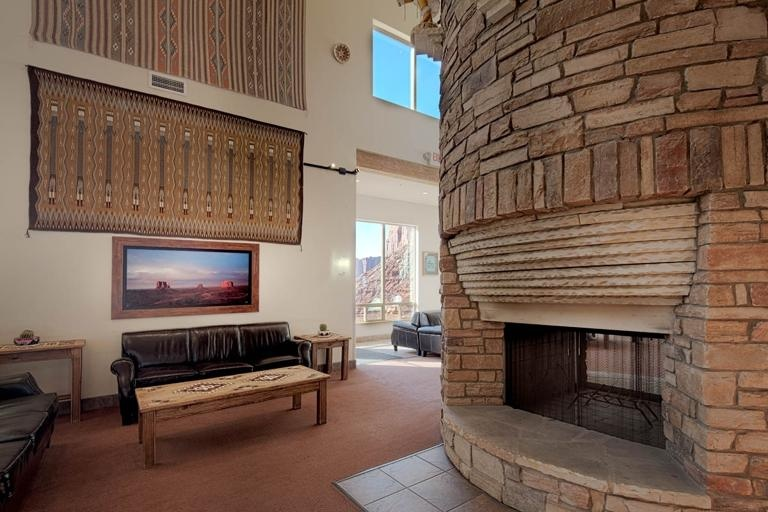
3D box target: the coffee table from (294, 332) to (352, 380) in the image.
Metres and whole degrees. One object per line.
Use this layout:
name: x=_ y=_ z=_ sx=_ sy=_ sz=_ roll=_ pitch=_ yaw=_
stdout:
coffee table: x=-0.927 y=1.506 z=7.549 sx=0.609 sy=0.514 sz=0.578 roll=2 pitch=-5 yaw=-35

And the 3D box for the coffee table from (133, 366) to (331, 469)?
coffee table: x=-1.648 y=1.635 z=5.464 sx=1.881 sy=0.574 sz=0.812 roll=-4 pitch=7 yaw=-29

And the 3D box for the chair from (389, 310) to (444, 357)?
chair: x=0.650 y=1.471 z=9.493 sx=0.926 sy=0.705 sz=0.923 roll=9 pitch=-15 yaw=-34
